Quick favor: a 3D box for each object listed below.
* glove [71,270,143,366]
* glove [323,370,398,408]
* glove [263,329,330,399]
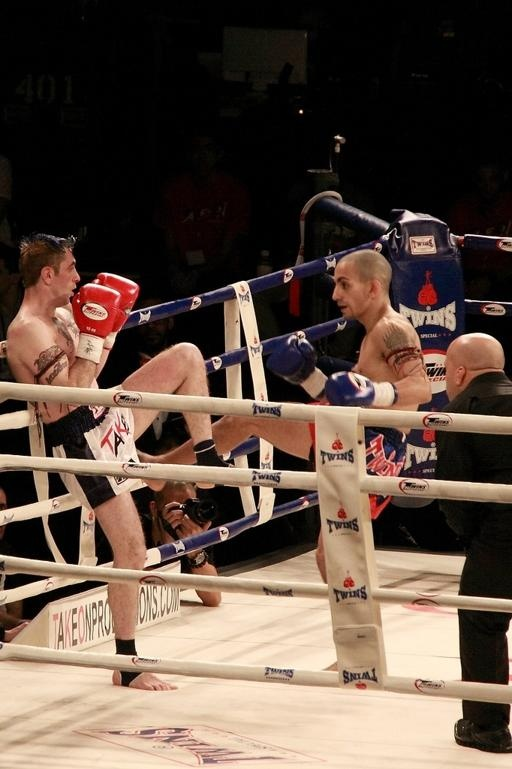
[{"bbox_3d":[-0.457,-0.202,2.538,0.257,0.270,0.127,18,-4,23],"label":"glove"},{"bbox_3d":[0.287,0.022,2.304,0.202,0.094,0.069,4,-24,-34],"label":"glove"},{"bbox_3d":[0.143,-0.060,2.953,0.199,0.113,0.280,-14,-36,18],"label":"glove"}]
